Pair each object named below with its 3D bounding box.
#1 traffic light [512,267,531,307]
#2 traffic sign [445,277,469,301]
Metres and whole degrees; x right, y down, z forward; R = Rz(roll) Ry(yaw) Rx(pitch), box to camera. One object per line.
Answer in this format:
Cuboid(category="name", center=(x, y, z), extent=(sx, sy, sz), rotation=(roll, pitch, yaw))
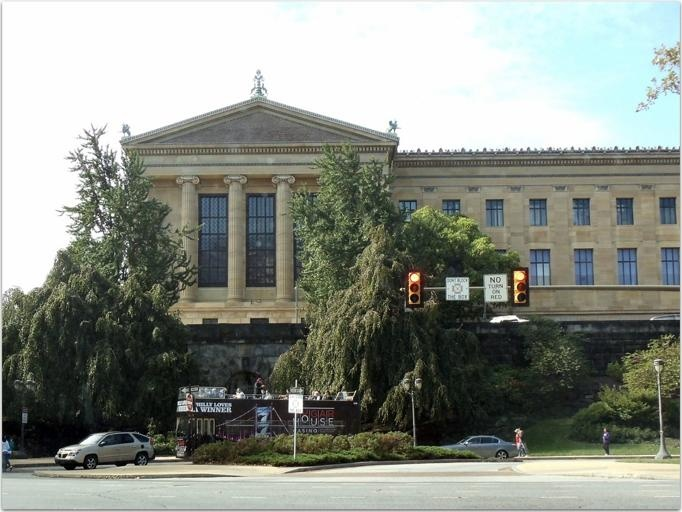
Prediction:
Cuboid(category="traffic light", center=(9.431, 1.530, 69.727), extent=(0.910, 1.923, 1.179), rotation=(-2, -12, 5))
Cuboid(category="traffic sign", center=(6.349, 1.744, 72.360), extent=(1.472, 1.500, 0.151), rotation=(0, -9, 3))
